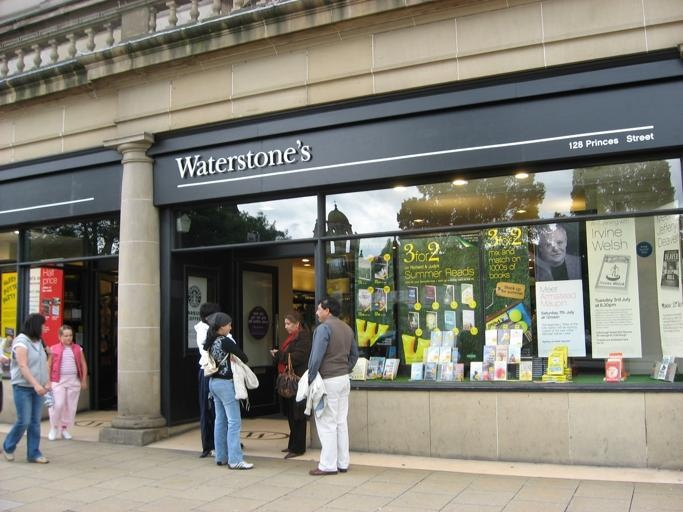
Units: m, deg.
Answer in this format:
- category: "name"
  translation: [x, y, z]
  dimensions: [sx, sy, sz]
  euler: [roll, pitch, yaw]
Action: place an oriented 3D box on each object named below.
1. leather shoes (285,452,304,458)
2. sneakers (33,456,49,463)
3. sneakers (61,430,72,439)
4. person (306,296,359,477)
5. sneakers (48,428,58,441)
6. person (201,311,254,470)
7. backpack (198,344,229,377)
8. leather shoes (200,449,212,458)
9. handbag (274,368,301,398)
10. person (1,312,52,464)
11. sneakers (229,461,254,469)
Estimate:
- category: "leather shoes"
  translation: [-0.711, 3.006, 9.256]
  dimensions: [0.251, 0.108, 0.085]
  euler: [12, -16, -33]
- category: "sneakers"
  translation: [-4.417, 3.011, 9.072]
  dimensions: [0.196, 0.090, 0.089]
  euler: [0, -4, -3]
- category: "sneakers"
  translation: [-4.800, 3.127, 10.771]
  dimensions: [0.159, 0.129, 0.308]
  euler: [0, -2, -24]
- category: "person"
  translation: [-0.137, 1.784, 8.517]
  dimensions: [0.441, 2.381, 0.647]
  euler: [-2, -2, 29]
- category: "sneakers"
  translation: [-4.982, 3.069, 10.637]
  dimensions: [0.111, 0.109, 0.233]
  euler: [3, 6, -29]
- category: "person"
  translation: [-1.616, 1.910, 8.688]
  dimensions: [0.613, 2.200, 0.500]
  euler: [-1, -1, -4]
- category: "backpack"
  translation: [-1.833, 1.481, 8.633]
  dimensions: [0.487, 0.401, 0.266]
  euler: [-2, -2, 41]
- category: "leather shoes"
  translation: [-2.048, 3.013, 9.363]
  dimensions: [0.187, 0.085, 0.085]
  euler: [-5, -3, 1]
- category: "handbag"
  translation: [-0.817, 1.907, 9.249]
  dimensions: [0.347, 0.364, 0.162]
  euler: [-2, -2, 25]
- category: "person"
  translation: [-4.501, 1.945, 8.903]
  dimensions: [0.542, 2.213, 0.755]
  euler: [0, -2, -41]
- category: "sneakers"
  translation: [-1.403, 2.954, 8.635]
  dimensions: [0.331, 0.161, 0.131]
  euler: [-1, -4, -1]
